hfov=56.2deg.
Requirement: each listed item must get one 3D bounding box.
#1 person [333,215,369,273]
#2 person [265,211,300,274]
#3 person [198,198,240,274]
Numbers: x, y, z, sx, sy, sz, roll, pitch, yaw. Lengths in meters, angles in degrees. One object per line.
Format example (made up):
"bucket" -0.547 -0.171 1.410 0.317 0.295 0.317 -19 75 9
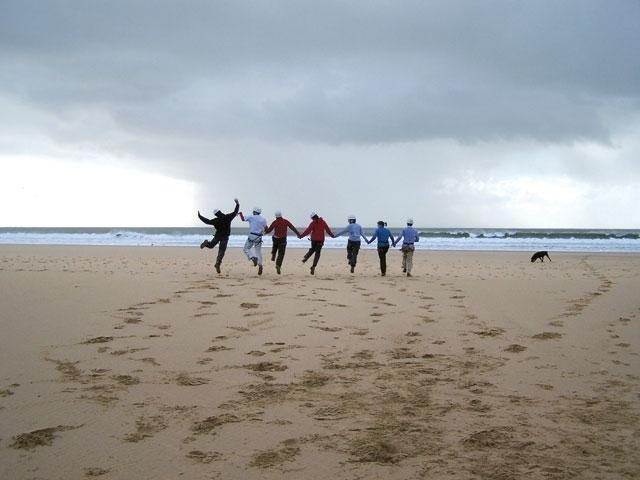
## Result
"person" 1.082 0.363 20.880 1.342 2.117 0.738 1 8 -3
"person" -1.201 0.298 19.051 1.055 1.883 1.242 0 29 -8
"person" -3.267 0.230 19.548 1.547 2.933 1.135 0 15 -14
